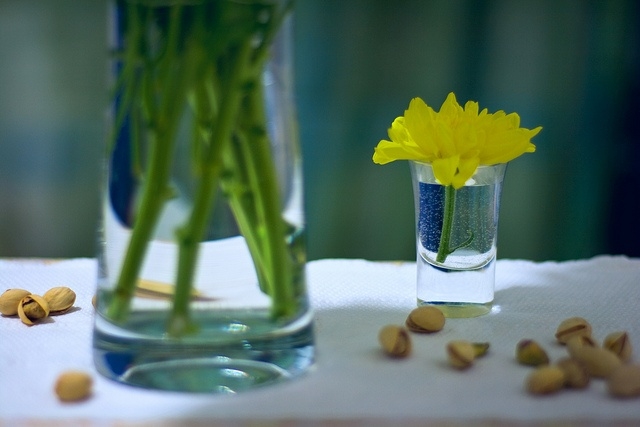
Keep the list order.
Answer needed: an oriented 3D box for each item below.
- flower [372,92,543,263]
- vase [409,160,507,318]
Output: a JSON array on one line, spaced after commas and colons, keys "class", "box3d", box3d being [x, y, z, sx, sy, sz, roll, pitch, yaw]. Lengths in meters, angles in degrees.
[{"class": "flower", "box3d": [0.128, -0.017, 0.572, 0.161, 0.165, 0.141, 1, 3, -20]}, {"class": "vase", "box3d": [0.141, 0.020, 0.606, 0.105, 0.156, 0.103, -6, 9, -26]}]
